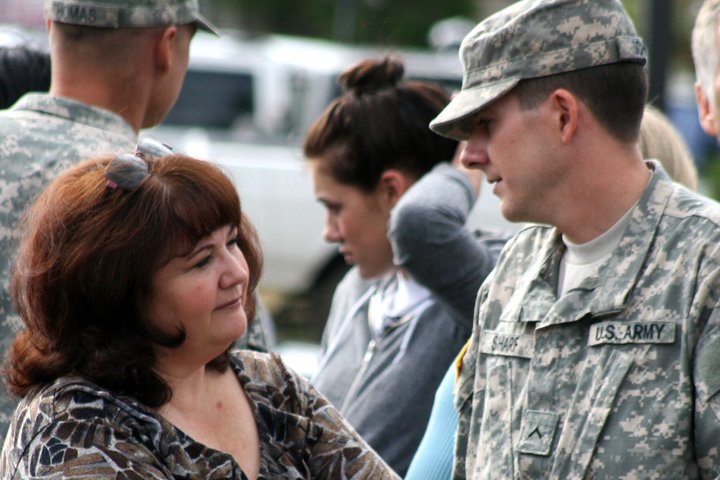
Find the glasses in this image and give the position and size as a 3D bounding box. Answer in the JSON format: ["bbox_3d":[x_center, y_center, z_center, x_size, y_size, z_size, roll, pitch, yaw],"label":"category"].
[{"bbox_3d":[-0.959,-0.309,8.107,0.082,0.248,0.222,54,30,2],"label":"glasses"}]

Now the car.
[{"bbox_3d":[-0.820,-0.665,15.029,1.738,1.596,3.045,-4,12,-28],"label":"car"}]
